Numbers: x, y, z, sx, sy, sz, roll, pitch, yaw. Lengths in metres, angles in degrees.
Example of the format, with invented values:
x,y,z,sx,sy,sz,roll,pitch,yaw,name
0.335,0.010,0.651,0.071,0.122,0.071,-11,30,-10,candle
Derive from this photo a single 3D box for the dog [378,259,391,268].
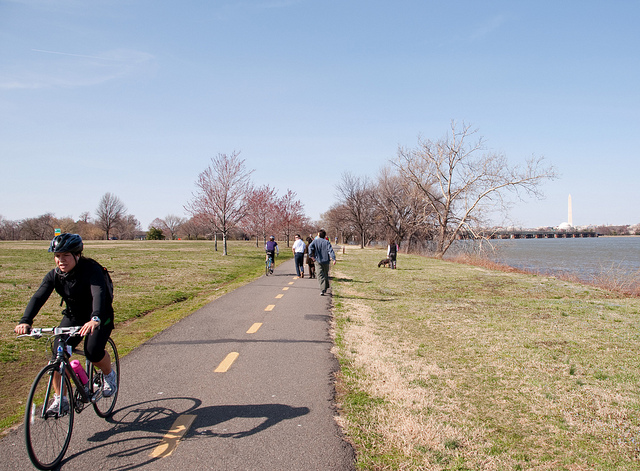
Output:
x,y,z,sx,sy,sz,roll,pitch,yaw,name
3.756,1.490,28.180,1.014,0.581,0.284,-2,4,-4,dog

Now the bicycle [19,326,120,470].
x,y,z,sx,sy,sz,roll,pitch,yaw,name
-3.225,1.907,6.464,0.609,1.539,1.410,3,10,8,bicycle

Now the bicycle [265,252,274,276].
x,y,z,sx,sy,sz,roll,pitch,yaw,name
-2.211,1.180,22.303,0.248,1.058,0.437,1,10,-4,bicycle

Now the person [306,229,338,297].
x,y,z,sx,sy,sz,roll,pitch,yaw,name
0.071,0.756,15.238,0.804,1.893,0.814,-2,-3,-1,person
